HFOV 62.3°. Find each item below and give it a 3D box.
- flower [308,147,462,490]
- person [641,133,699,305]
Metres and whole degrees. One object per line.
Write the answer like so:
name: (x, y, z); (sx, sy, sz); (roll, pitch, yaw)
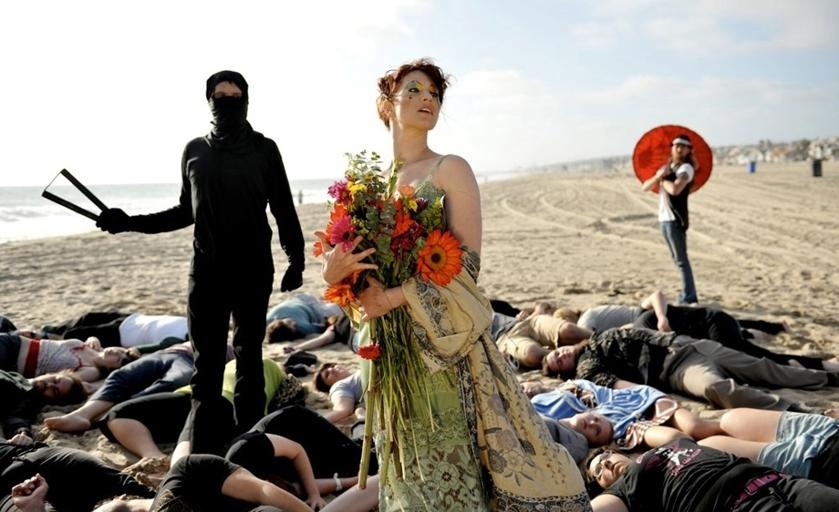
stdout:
flower: (-0.213, 0.530, 6.095); (1.184, 2.899, 0.543); (-8, 8, -9)
person: (3.965, -0.574, 10.726); (0.740, 2.522, 1.297); (-4, 9, 19)
